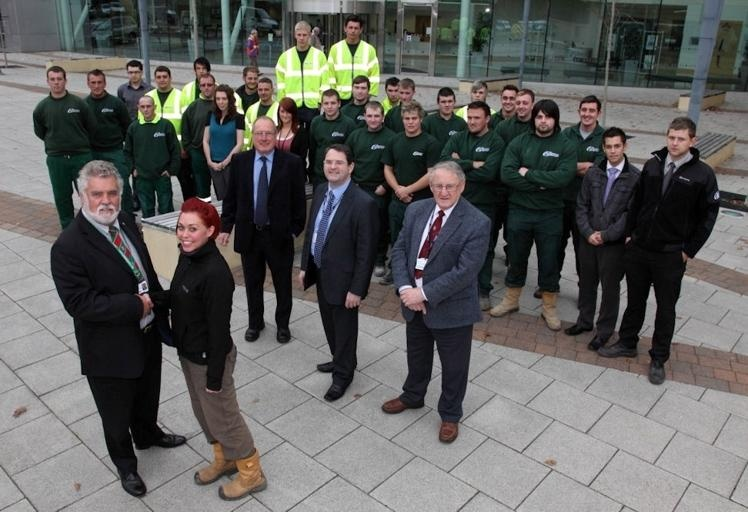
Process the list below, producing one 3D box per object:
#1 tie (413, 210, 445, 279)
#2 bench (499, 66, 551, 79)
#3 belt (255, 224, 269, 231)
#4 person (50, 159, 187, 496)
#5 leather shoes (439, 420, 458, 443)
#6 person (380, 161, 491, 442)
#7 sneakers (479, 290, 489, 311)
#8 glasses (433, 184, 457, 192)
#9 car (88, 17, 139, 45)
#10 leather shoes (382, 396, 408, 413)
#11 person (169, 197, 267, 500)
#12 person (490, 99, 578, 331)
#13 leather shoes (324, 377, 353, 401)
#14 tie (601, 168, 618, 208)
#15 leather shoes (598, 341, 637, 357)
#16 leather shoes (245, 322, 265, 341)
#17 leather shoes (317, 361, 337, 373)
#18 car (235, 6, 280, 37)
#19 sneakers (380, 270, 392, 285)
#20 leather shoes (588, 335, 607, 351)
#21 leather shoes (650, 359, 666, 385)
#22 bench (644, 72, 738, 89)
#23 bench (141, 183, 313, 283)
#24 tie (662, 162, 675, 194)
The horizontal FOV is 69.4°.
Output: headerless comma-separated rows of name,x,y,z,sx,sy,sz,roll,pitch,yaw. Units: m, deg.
tie,0.526,-0.109,5.201,0.173,0.660,0.270,18,27,36
bench,7.720,-9.496,27.781,2.542,0.510,0.846,-9,23,-24
belt,-1.344,-0.346,6.512,0.100,0.092,0.025,4,36,3
person,-2.212,0.641,4.681,0.703,2.816,0.862,7,23,16
leather shoes,0.735,1.745,5.355,0.118,0.106,0.261,3,20,12
person,0.563,0.432,5.305,0.920,2.646,0.802,11,24,25
sneakers,1.544,0.629,7.553,0.131,0.148,0.367,-1,8,7
glasses,0.651,-0.639,5.007,0.194,0.071,0.046,1,22,1
car,-15.986,-13.770,33.269,2.746,1.233,1.683,-2,25,-15
leather shoes,0.214,1.573,5.700,0.282,0.105,0.129,-5,50,-17
person,-1.387,0.823,4.643,0.592,2.530,0.887,-9,24,-23
person,2.120,-0.569,7.107,1.042,2.830,0.904,12,25,26
leather shoes,-0.388,1.438,5.921,0.137,0.126,0.360,13,24,25
tie,2.857,-0.853,6.542,0.151,0.403,0.058,12,3,26
leather shoes,2.939,1.149,6.552,0.508,0.182,0.176,2,28,3
leather shoes,-1.508,0.951,6.833,0.118,0.119,0.295,8,20,16
leather shoes,-0.541,1.273,6.219,0.252,0.166,0.079,5,62,1
car,-6.041,-12.379,28.476,2.168,1.049,1.284,-1,42,2
sneakers,0.224,0.333,8.233,0.106,0.124,0.318,15,18,40
leather shoes,2.750,1.064,6.700,0.320,0.122,0.115,-35,40,-25
leather shoes,3.238,1.335,6.186,0.130,0.119,0.337,8,32,20
bench,15.585,-8.491,26.370,4.452,0.660,1.483,0,20,-3
bench,-2.137,-0.670,8.397,2.334,0.625,0.653,-5,33,-3
tie,3.259,-0.885,6.007,0.088,0.315,0.127,17,27,35
